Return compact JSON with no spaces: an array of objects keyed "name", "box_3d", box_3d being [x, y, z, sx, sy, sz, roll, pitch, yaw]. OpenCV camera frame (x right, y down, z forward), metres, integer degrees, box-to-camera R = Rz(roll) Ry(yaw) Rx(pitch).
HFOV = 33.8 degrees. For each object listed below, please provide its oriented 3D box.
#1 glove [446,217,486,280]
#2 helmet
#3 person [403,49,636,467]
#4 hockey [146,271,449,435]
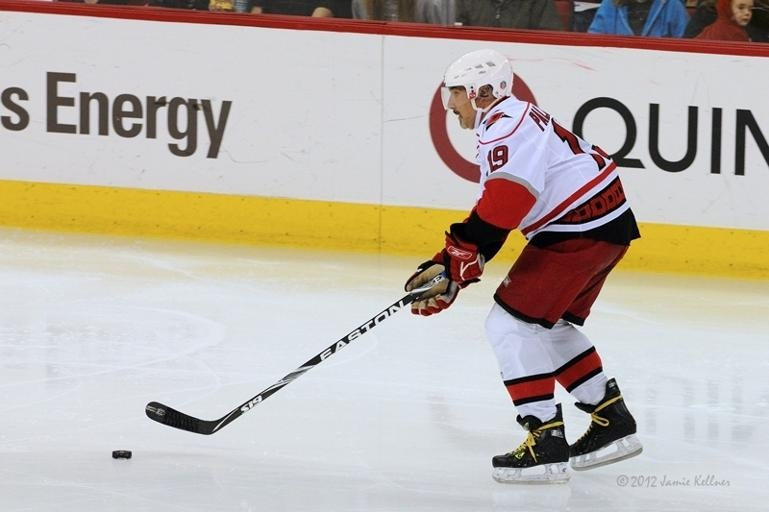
[{"name":"glove","box_3d":[0.441,-0.035,6.200,0.117,0.252,0.212,-21,23,-36]},{"name":"helmet","box_3d":[0.482,-0.894,6.283,0.371,0.244,0.270,3,6,9]},{"name":"person","box_3d":[0.758,0.065,6.194,1.296,2.028,0.424,11,11,0]},{"name":"hockey","box_3d":[-0.483,0.569,6.995,2.152,0.289,0.119,-20,-8,11]}]
